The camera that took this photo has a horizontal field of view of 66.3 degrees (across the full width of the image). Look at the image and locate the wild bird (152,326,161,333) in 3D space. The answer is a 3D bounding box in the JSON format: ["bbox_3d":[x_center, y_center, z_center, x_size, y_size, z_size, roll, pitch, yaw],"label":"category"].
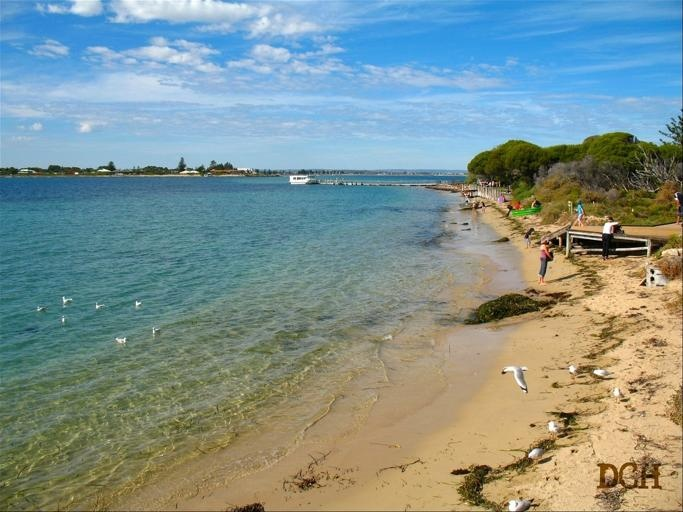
[{"bbox_3d":[-8.410,3.350,23.611,0.261,0.134,0.406,-2,7,-32],"label":"wild bird"}]

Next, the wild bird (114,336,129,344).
[{"bbox_3d":[-9.513,3.646,22.594,0.403,0.102,0.323,12,4,-7],"label":"wild bird"}]

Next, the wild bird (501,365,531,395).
[{"bbox_3d":[5.871,4.030,16.912,0.290,0.706,1.493,1,-2,27],"label":"wild bird"}]

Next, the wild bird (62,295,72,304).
[{"bbox_3d":[-14.970,2.408,28.308,0.617,0.232,0.417,-21,-19,17],"label":"wild bird"}]

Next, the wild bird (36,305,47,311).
[{"bbox_3d":[-15.541,2.708,26.891,0.337,0.207,0.354,4,7,-21],"label":"wild bird"}]

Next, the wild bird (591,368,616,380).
[{"bbox_3d":[8.419,3.775,16.535,0.588,0.211,0.628,1,6,11],"label":"wild bird"}]

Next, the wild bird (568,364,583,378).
[{"bbox_3d":[7.814,3.819,17.260,0.427,0.136,0.354,-3,17,0],"label":"wild bird"}]

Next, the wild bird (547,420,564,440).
[{"bbox_3d":[6.118,4.850,14.733,0.280,0.318,0.612,-1,12,15],"label":"wild bird"}]

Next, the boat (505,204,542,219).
[{"bbox_3d":[18.975,-4.431,52.922,1.030,1.184,3.955,-3,6,-17],"label":"boat"}]

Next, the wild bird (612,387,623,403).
[{"bbox_3d":[8.162,4.064,15.254,0.184,0.153,0.425,-2,37,34],"label":"wild bird"}]

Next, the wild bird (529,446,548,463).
[{"bbox_3d":[5.255,5.304,13.949,0.596,0.247,0.236,-11,-14,-20],"label":"wild bird"}]
